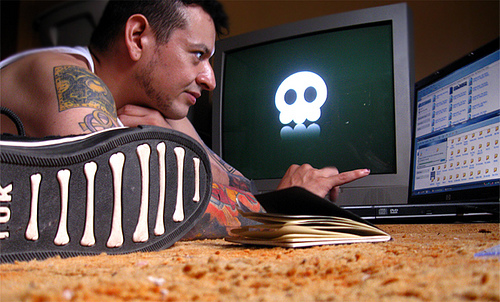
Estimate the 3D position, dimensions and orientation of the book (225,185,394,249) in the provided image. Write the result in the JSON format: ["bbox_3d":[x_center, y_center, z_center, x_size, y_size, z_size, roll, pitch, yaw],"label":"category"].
[{"bbox_3d":[0.157,0.182,1.163,0.443,0.175,0.191,4,12,24],"label":"book"}]
